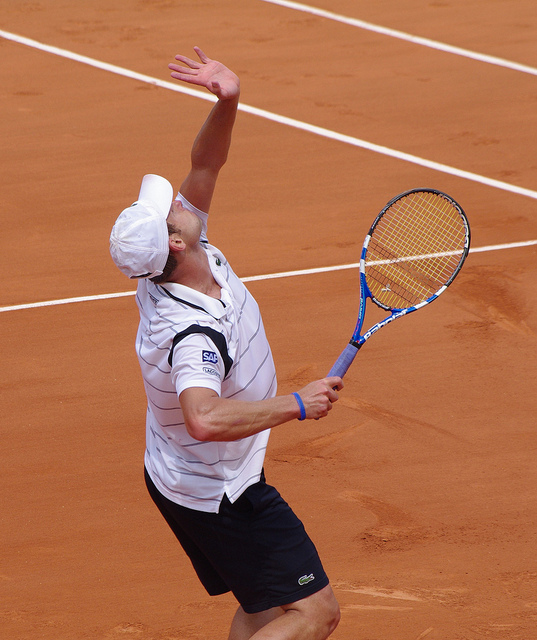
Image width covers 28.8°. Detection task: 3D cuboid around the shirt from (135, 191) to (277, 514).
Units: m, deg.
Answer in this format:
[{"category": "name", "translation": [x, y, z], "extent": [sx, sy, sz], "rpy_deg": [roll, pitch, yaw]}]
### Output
[{"category": "shirt", "translation": [-0.330, 0.226, 5.187], "extent": [0.615, 1.031, 1.845], "rpy_deg": [-8, 32, 5]}]
